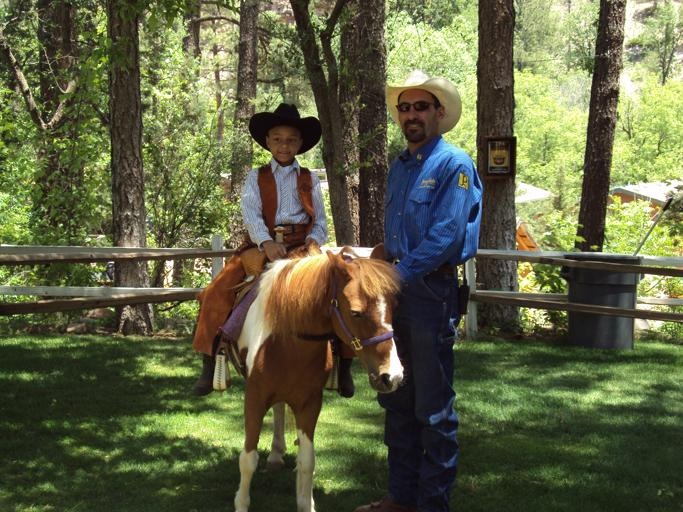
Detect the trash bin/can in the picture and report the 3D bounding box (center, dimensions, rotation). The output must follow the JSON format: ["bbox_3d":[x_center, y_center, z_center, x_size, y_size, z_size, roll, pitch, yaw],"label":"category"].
[{"bbox_3d":[4.278,0.730,11.587,1.521,1.934,1.396,1,-2,-12],"label":"trash bin/can"}]

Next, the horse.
[{"bbox_3d":[-0.232,1.223,6.252,1.705,2.622,0.571,2,2,28],"label":"horse"}]

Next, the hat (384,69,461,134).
[{"bbox_3d":[0.933,-1.601,6.729,0.604,0.702,0.297,3,46,12],"label":"hat"}]
